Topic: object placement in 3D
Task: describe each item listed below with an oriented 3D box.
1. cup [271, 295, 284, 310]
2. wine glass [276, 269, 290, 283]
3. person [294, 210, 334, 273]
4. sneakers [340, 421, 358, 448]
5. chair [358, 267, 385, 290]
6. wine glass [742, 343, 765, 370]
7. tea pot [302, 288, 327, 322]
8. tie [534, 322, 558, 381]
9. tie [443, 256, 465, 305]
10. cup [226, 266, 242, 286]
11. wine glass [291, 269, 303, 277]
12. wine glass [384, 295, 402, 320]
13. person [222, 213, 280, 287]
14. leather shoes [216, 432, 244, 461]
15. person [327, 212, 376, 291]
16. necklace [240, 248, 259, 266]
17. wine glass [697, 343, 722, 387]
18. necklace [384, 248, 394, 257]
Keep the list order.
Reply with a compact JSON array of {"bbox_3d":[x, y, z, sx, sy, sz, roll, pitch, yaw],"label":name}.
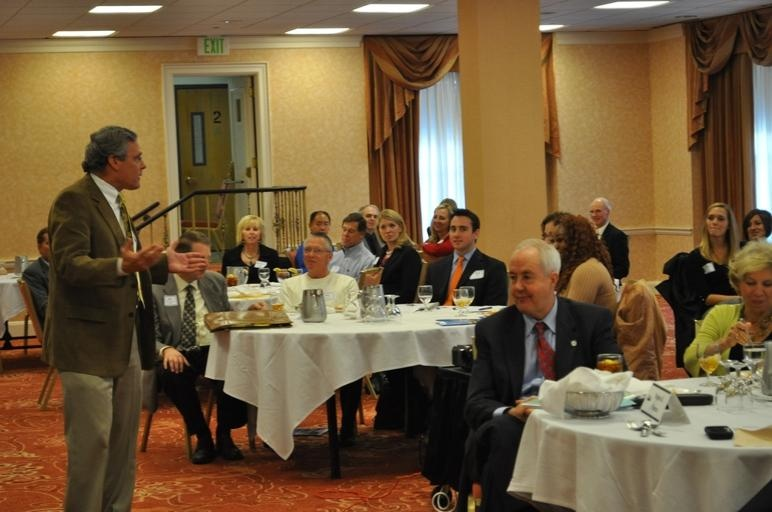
[{"bbox_3d":[-0.852,0.359,5.246,0.134,0.141,0.129,0,-9,0],"label":"cup"},{"bbox_3d":[-1.076,0.185,6.950,0.203,0.165,0.216,0,-3,-1],"label":"wine glass"},{"bbox_3d":[-0.848,-0.054,8.095,0.548,0.992,0.319,5,-7,-22],"label":"person"},{"bbox_3d":[-0.237,1.318,4.958,0.078,0.159,0.231,-4,-15,18],"label":"sneakers"},{"bbox_3d":[-0.149,0.185,5.854,0.183,0.227,0.194,0,-5,9],"label":"chair"},{"bbox_3d":[1.550,0.415,2.835,0.097,0.105,0.095,1,-5,-3],"label":"wine glass"},{"bbox_3d":[-0.501,0.334,4.599,0.187,0.235,0.249,1,-3,-30],"label":"tea pot"},{"bbox_3d":[0.756,0.452,3.229,0.061,0.217,0.165,-7,-5,-17],"label":"tie"},{"bbox_3d":[0.541,0.169,5.315,0.086,0.531,0.082,13,-19,13],"label":"tie"},{"bbox_3d":[-1.536,0.193,6.734,0.215,0.209,0.135,-1,-4,12],"label":"cup"},{"bbox_3d":[-0.886,0.159,6.621,0.085,0.073,0.136,1,2,12],"label":"wine glass"},{"bbox_3d":[0.034,0.353,4.758,0.156,0.177,0.136,-2,-1,-5],"label":"wine glass"},{"bbox_3d":[-1.461,0.129,7.329,0.614,1.099,0.387,-2,-20,-8],"label":"person"},{"bbox_3d":[-1.118,1.356,4.823,0.119,0.108,0.272,-1,2,-31],"label":"leather shoes"},{"bbox_3d":[-0.372,-0.080,7.159,0.659,0.811,0.411,17,20,32],"label":"person"},{"bbox_3d":[-1.490,0.011,7.320,0.147,0.190,0.047,0,-41,-15],"label":"necklace"},{"bbox_3d":[1.428,0.489,2.988,0.092,0.136,0.092,2,-7,4],"label":"wine glass"},{"bbox_3d":[0.024,-0.036,6.450,0.077,0.073,0.028,-23,-42,38],"label":"necklace"}]
